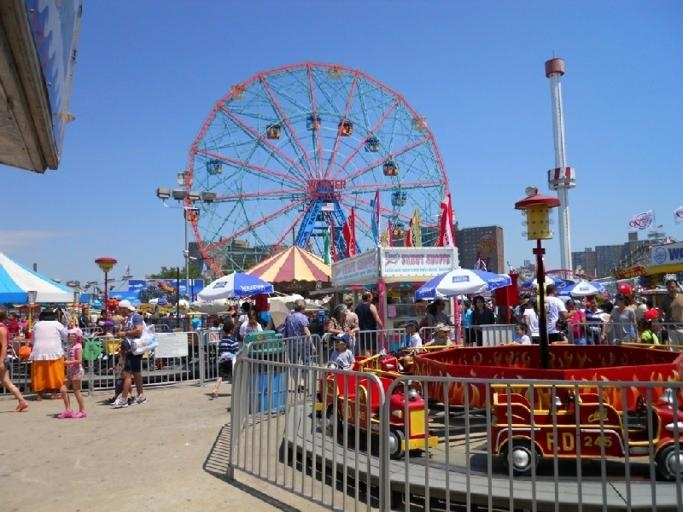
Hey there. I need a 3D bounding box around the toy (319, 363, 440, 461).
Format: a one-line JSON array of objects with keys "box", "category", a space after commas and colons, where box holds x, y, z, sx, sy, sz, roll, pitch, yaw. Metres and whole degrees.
[{"box": [0.327, 1.827, 8.036, 0.905, 0.868, 1.787, 3, -5, -34], "category": "toy"}]

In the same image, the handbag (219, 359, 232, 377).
[{"box": [-2.249, 2.162, 12.860, 0.213, 0.331, 0.619, -3, -6, -15], "category": "handbag"}]

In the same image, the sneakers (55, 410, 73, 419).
[{"box": [-4.724, 2.675, 11.264, 0.362, 0.166, 0.137, -1, -4, 19], "category": "sneakers"}]

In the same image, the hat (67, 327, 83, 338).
[{"box": [-4.631, 1.325, 11.626, 0.230, 0.107, 0.317, 0, 4, -17], "category": "hat"}]

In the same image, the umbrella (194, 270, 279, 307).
[{"box": [-3.385, 1.070, 22.074, 2.436, 1.018, 2.528, 0, -7, -4], "category": "umbrella"}]

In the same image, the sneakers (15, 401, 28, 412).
[{"box": [-5.756, 2.698, 11.961, 0.186, 0.194, 0.377, -2, -6, -25], "category": "sneakers"}]

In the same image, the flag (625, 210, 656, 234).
[{"box": [22.208, -2.628, 48.851, 1.399, 1.259, 2.778, -7, -6, 22], "category": "flag"}]

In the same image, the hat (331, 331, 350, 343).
[{"box": [0.018, 1.318, 10.862, 0.292, 0.182, 0.214, 13, -11, -8], "category": "hat"}]

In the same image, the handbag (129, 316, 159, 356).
[{"box": [-3.575, 1.496, 12.185, 0.399, 0.588, 0.822, -4, -5, 0], "category": "handbag"}]

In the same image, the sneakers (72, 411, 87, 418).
[{"box": [-4.458, 2.691, 11.280, 0.209, 0.106, 0.386, -2, -6, -22], "category": "sneakers"}]
